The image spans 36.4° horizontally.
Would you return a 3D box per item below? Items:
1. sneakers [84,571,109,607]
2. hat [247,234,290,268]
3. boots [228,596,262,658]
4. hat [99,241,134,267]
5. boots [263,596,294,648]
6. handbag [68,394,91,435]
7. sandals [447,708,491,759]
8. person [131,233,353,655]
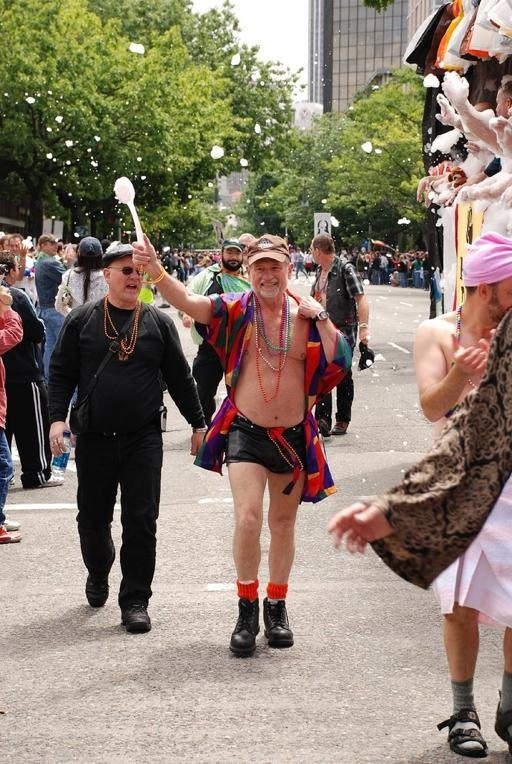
[{"bbox_3d":[-0.827,1.087,4.052,0.082,0.209,0.096,-5,10,-16],"label":"sneakers"},{"bbox_3d":[0.051,-0.578,3.470,0.130,0.089,0.172,-3,-8,9],"label":"hat"},{"bbox_3d":[-0.052,1.070,3.418,0.129,0.230,0.276,-4,3,1],"label":"boots"},{"bbox_3d":[-0.692,-0.647,3.853,0.118,0.055,0.167,-13,-3,-34],"label":"hat"},{"bbox_3d":[0.099,1.082,3.517,0.130,0.186,0.233,-4,3,-1],"label":"boots"},{"bbox_3d":[-0.887,0.165,3.873,0.097,0.197,0.210,-5,3,-22],"label":"handbag"},{"bbox_3d":[0.607,1.006,2.221,0.078,0.074,0.187,-1,-12,1],"label":"sandals"},{"bbox_3d":[-0.014,0.256,3.569,0.872,1.856,0.483,-5,3,-30],"label":"person"}]
